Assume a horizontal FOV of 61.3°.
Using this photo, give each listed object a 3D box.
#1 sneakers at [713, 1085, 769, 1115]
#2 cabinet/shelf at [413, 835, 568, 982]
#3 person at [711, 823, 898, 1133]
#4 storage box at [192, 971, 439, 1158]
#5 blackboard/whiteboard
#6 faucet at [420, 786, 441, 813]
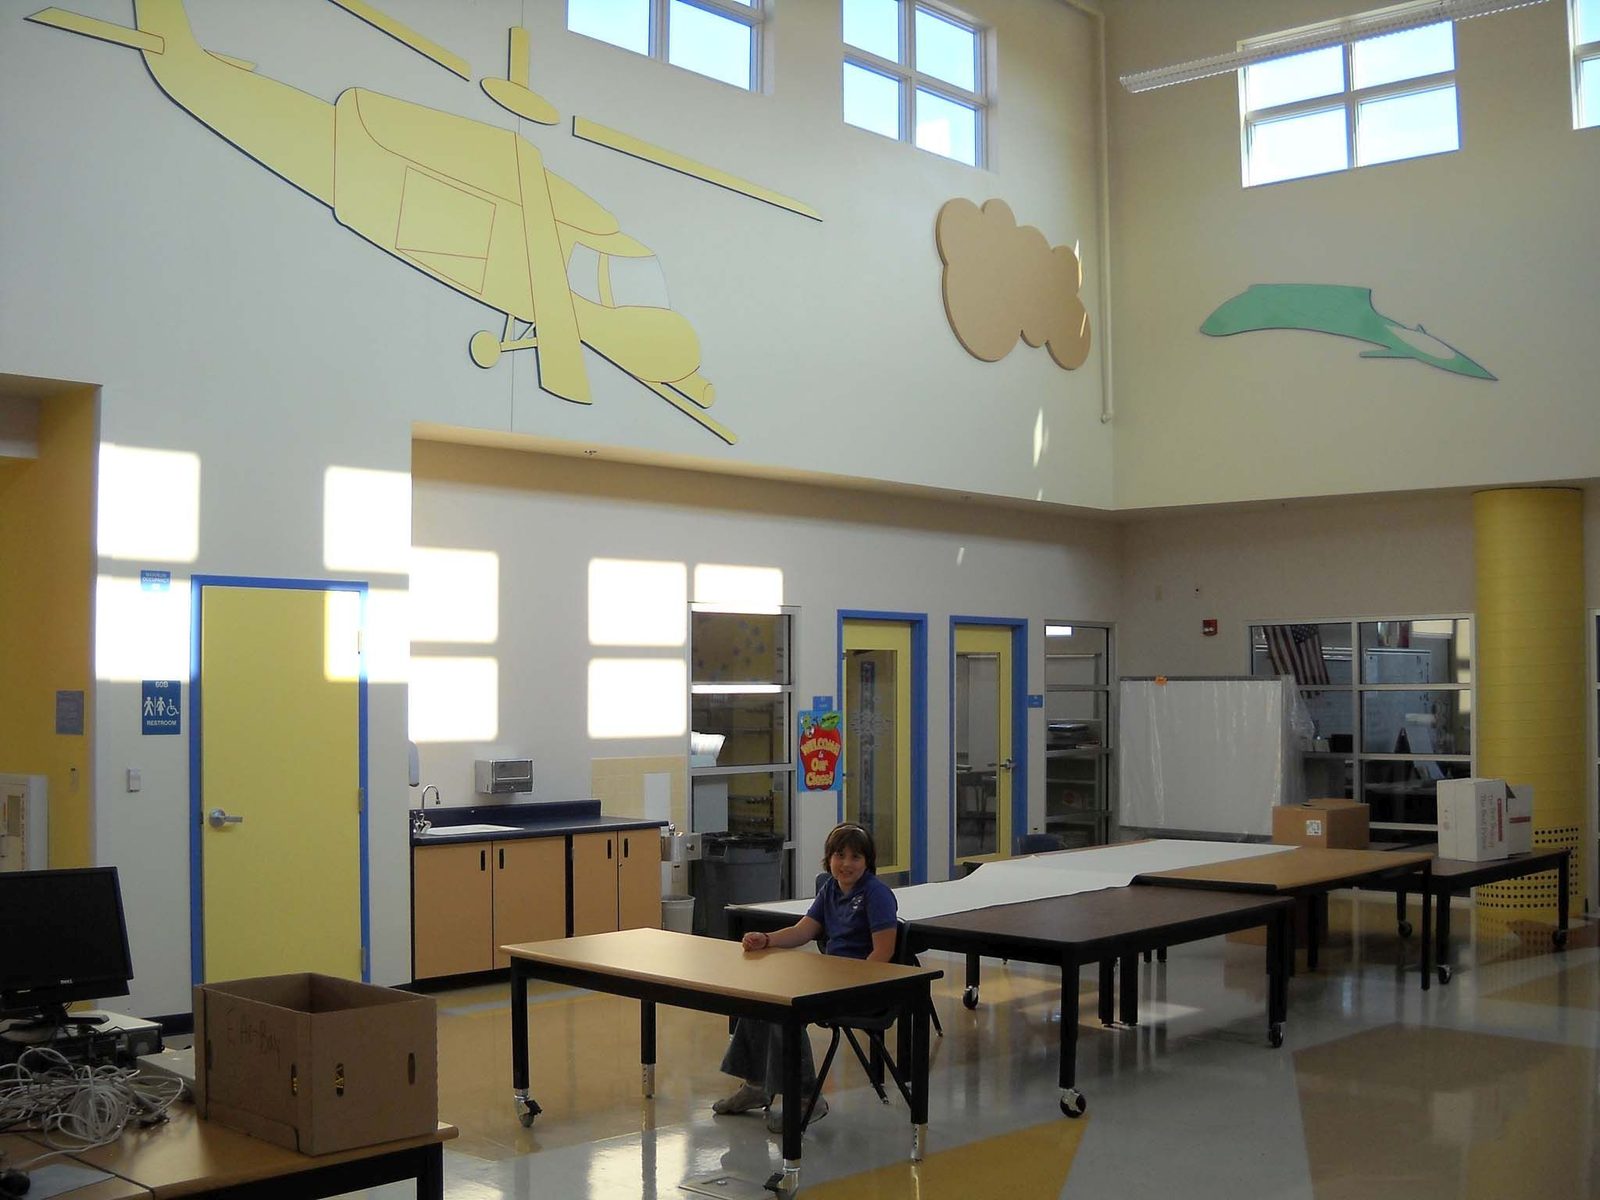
[{"bbox_3d":[-0.279,2.450,6.600,0.249,0.125,0.132,2,-4,1],"label":"sneakers"},{"bbox_3d":[-2.061,2.025,8.810,0.886,0.828,0.306,5,-9,-43],"label":"cabinet/shelf"},{"bbox_3d":[0.035,1.801,6.431,0.887,1.421,0.846,0,-1,3],"label":"person"},{"bbox_3d":[-1.343,1.205,3.923,0.655,0.431,0.458,-1,-4,40],"label":"storage box"},{"bbox_3d":[3.857,1.501,12.867,1.593,1.500,0.188,-1,-1,32],"label":"blackboard/whiteboard"},{"bbox_3d":[-2.550,1.389,9.429,0.046,0.181,0.179,-1,-2,37],"label":"faucet"}]
